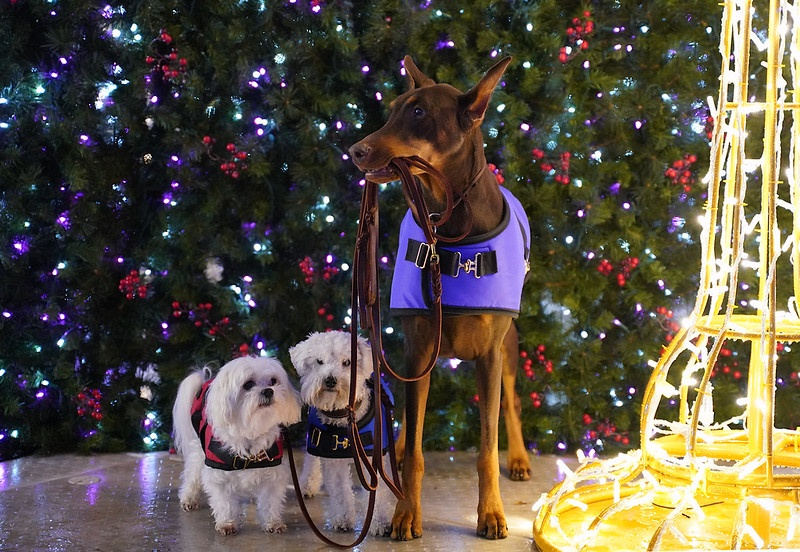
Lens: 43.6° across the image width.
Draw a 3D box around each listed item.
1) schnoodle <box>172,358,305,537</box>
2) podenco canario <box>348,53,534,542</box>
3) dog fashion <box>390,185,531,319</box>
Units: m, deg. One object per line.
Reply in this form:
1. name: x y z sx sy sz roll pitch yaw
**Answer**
1. schnoodle: -1.054 0.923 6.423 0.695 1.192 0.668 0 8 -22
2. podenco canario: 0.443 0.302 7.041 0.839 2.864 3.229 2 -2 9
3. dog fashion: 0.423 -0.247 6.304 0.624 0.878 0.673 4 8 10
